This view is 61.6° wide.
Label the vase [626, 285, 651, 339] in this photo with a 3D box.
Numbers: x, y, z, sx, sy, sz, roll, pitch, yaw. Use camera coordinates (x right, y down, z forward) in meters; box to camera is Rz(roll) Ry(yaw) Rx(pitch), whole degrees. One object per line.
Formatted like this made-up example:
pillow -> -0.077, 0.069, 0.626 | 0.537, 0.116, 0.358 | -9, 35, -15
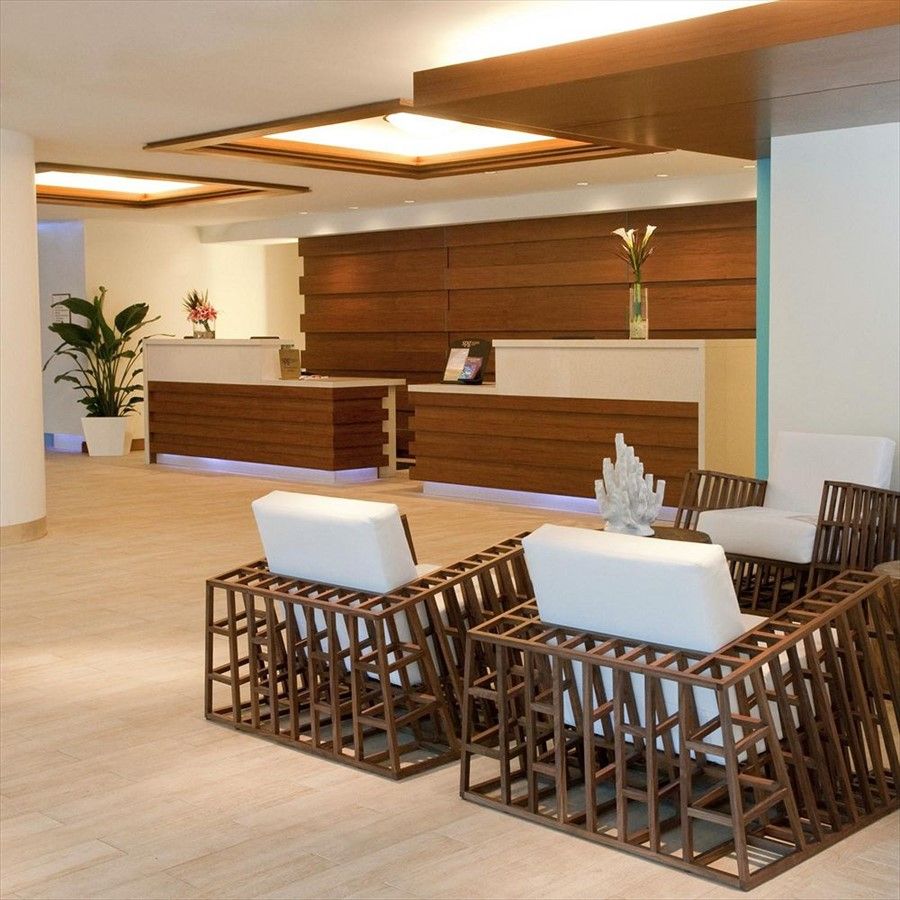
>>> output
vase -> 1.806, -1.331, 7.218 | 0.154, 0.506, 0.214 | -4, 3, 6
